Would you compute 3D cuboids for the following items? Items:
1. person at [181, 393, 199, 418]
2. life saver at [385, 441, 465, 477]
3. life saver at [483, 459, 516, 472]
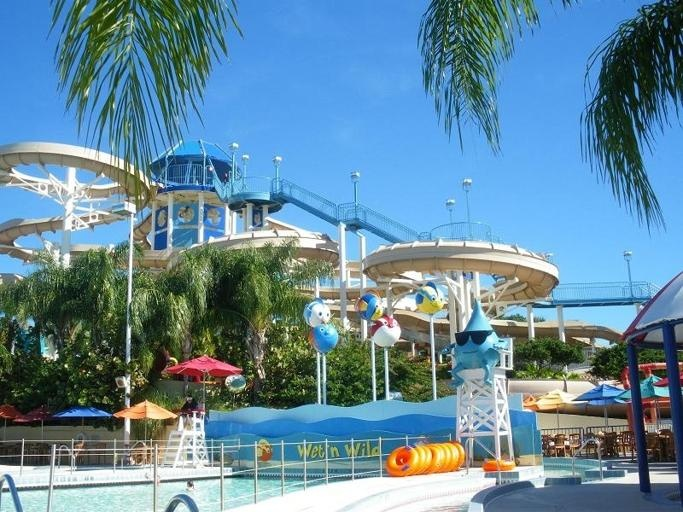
[{"bbox_3d":[-5.006,5.008,26.047,0.777,0.471,1.081,21,-19,-20],"label":"person"},{"bbox_3d":[2.001,4.796,18.484,2.167,0.672,0.688,10,-18,-44],"label":"life saver"},{"bbox_3d":[3.744,4.932,18.469,0.805,0.287,1.118,1,-14,-16],"label":"life saver"}]
